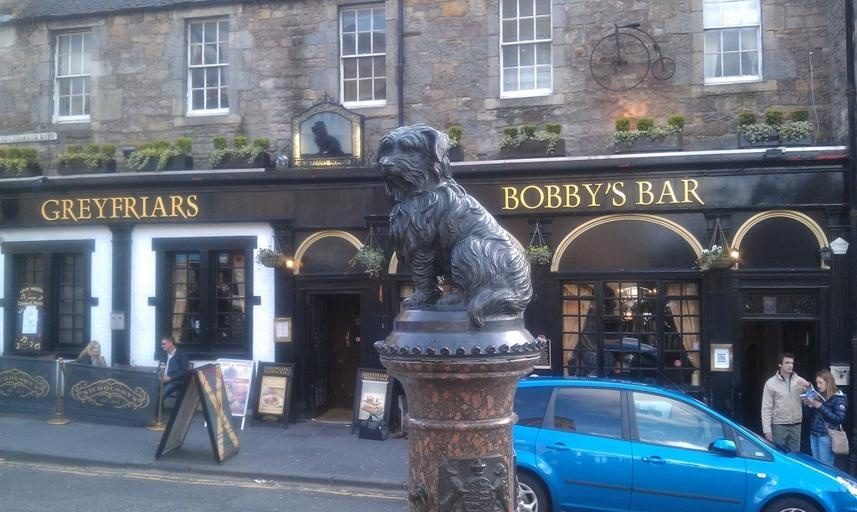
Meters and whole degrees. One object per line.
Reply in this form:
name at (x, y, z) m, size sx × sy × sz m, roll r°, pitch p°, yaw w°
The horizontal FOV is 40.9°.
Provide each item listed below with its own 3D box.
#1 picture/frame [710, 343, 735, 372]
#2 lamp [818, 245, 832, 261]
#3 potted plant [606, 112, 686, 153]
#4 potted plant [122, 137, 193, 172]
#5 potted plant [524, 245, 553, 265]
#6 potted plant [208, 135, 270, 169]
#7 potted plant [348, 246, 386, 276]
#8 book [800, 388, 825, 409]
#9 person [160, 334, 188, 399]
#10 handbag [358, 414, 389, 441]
picture/frame at (6.932, 2.437, 27.160) m, size 0.768 × 0.849 × 0.076 m, roll 0°, pitch -2°, yaw 6°
lamp at (9.258, 0.009, 26.901) m, size 0.339 × 0.359 × 0.319 m, roll 0°, pitch -5°, yaw -2°
potted plant at (5.212, -2.895, 27.602) m, size 1.671 × 0.856 × 0.466 m, roll -1°, pitch 0°, yaw 8°
potted plant at (-6.726, -2.535, 29.092) m, size 1.539 × 0.703 × 0.370 m, roll -1°, pitch 0°, yaw 6°
potted plant at (2.607, 0.001, 27.426) m, size 0.511 × 0.271 × 0.474 m, roll 1°, pitch -4°, yaw -2°
potted plant at (-4.698, -2.523, 28.774) m, size 1.372 × 0.745 × 0.882 m, roll 0°, pitch -2°, yaw -1°
potted plant at (-1.482, 0.155, 27.917) m, size 0.827 × 0.590 × 0.794 m, roll -1°, pitch -4°, yaw 16°
book at (8.363, 3.124, 25.129) m, size 0.426 × 0.157 × 0.417 m, roll 37°, pitch -27°, yaw -9°
person at (-6.191, 2.750, 28.301) m, size 0.637 × 1.234 × 0.863 m, roll -1°, pitch 0°, yaw -12°
handbag at (-1.313, 4.152, 27.461) m, size 0.744 × 0.575 × 0.435 m, roll -1°, pitch -4°, yaw 8°
